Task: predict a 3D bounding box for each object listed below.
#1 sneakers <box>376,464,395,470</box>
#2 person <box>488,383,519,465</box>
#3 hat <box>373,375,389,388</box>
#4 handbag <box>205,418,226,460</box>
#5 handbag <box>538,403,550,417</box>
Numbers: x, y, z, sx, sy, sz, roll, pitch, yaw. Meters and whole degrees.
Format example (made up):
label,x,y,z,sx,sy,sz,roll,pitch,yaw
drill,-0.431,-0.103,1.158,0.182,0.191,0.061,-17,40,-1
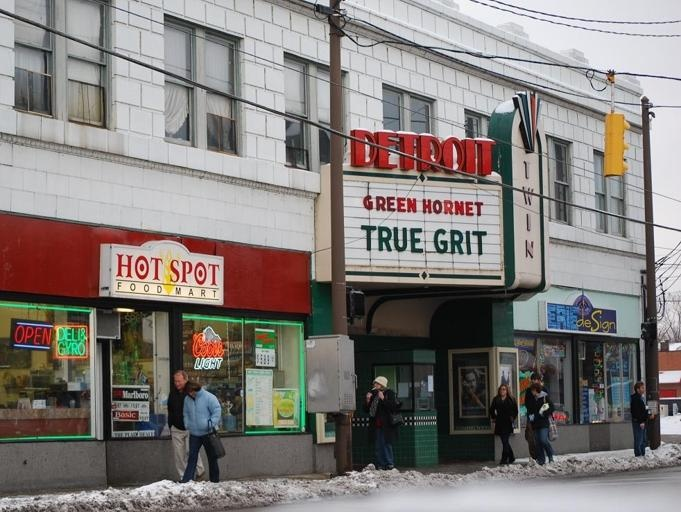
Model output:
label,x,y,z,sx,sy,sz,roll,pitch,yaw
sneakers,0.933,4.631,25.979,0.350,0.109,0.271,-2,-4,32
person,4.026,4.169,29.554,0.640,2.022,0.836,-2,-10,4
hat,0.889,2.825,26.686,0.237,0.194,0.323,15,-2,20
handbag,-2.424,3.527,22.981,0.297,0.723,0.496,0,-11,-7
handbag,4.626,3.539,27.254,0.197,0.301,0.138,15,-5,22
